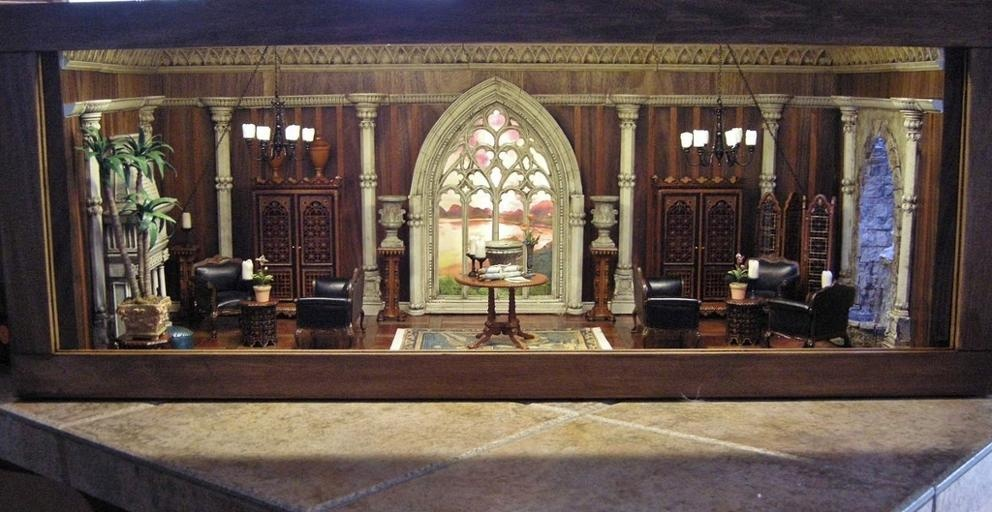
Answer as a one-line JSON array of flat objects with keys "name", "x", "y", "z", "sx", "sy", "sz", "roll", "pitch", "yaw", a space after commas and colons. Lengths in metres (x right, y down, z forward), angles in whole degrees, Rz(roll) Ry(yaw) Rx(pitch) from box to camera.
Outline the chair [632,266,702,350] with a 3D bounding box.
[{"name": "chair", "x": 3.121, "y": 0.916, "z": 14.180, "sx": 1.301, "sy": 1.446, "sz": 1.895, "roll": -2, "pitch": 15, "yaw": -2}]

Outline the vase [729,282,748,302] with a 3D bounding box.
[{"name": "vase", "x": 4.244, "y": 0.606, "z": 13.822, "sx": 0.339, "sy": 0.260, "sz": 0.325, "roll": 0, "pitch": 3, "yaw": 19}]

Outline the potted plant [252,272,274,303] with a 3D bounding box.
[{"name": "potted plant", "x": -4.069, "y": 0.537, "z": 13.851, "sx": 0.572, "sy": 0.560, "sz": 0.525, "roll": 1, "pitch": -4, "yaw": -15}]

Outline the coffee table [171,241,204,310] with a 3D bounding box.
[{"name": "coffee table", "x": -5.759, "y": 0.416, "z": 14.845, "sx": 0.650, "sy": 1.047, "sz": 0.628, "roll": -1, "pitch": -6, "yaw": 8}]

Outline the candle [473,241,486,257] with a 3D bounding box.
[{"name": "candle", "x": -0.280, "y": -0.128, "z": 13.701, "sx": 0.195, "sy": 0.302, "sz": 0.079, "roll": -2, "pitch": 4, "yaw": -13}]

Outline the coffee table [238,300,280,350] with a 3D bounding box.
[{"name": "coffee table", "x": -4.139, "y": 1.177, "z": 13.935, "sx": 0.650, "sy": 0.655, "sz": 0.672, "roll": 3, "pitch": 5, "yaw": 43}]

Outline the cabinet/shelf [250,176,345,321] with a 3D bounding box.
[{"name": "cabinet/shelf", "x": -3.612, "y": -0.081, "z": 15.267, "sx": 1.958, "sy": 2.831, "sz": 0.878, "roll": -3, "pitch": -6, "yaw": 25}]

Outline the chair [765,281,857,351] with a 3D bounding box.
[{"name": "chair", "x": 5.373, "y": 1.008, "z": 13.616, "sx": 1.221, "sy": 1.163, "sz": 1.067, "roll": -3, "pitch": 8, "yaw": -27}]

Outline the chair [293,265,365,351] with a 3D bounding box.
[{"name": "chair", "x": -2.969, "y": 0.899, "z": 13.935, "sx": 0.982, "sy": 1.116, "sz": 0.918, "roll": 2, "pitch": 7, "yaw": -6}]

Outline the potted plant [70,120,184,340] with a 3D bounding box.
[{"name": "potted plant", "x": -5.813, "y": -0.455, "z": 12.800, "sx": 1.388, "sy": 3.648, "sz": 1.370, "roll": -6, "pitch": 13, "yaw": -37}]

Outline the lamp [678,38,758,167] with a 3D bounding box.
[{"name": "lamp", "x": 4.073, "y": -2.881, "z": 14.689, "sx": 1.763, "sy": 2.414, "sz": 1.370, "roll": 1, "pitch": 2, "yaw": 15}]

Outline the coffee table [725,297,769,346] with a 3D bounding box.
[{"name": "coffee table", "x": 4.302, "y": 1.142, "z": 13.721, "sx": 0.854, "sy": 0.744, "sz": 0.799, "roll": 0, "pitch": 2, "yaw": 2}]

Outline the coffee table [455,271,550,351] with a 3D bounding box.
[{"name": "coffee table", "x": 0.228, "y": 0.981, "z": 13.626, "sx": 2.090, "sy": 1.472, "sz": 1.112, "roll": -1, "pitch": -1, "yaw": 16}]
